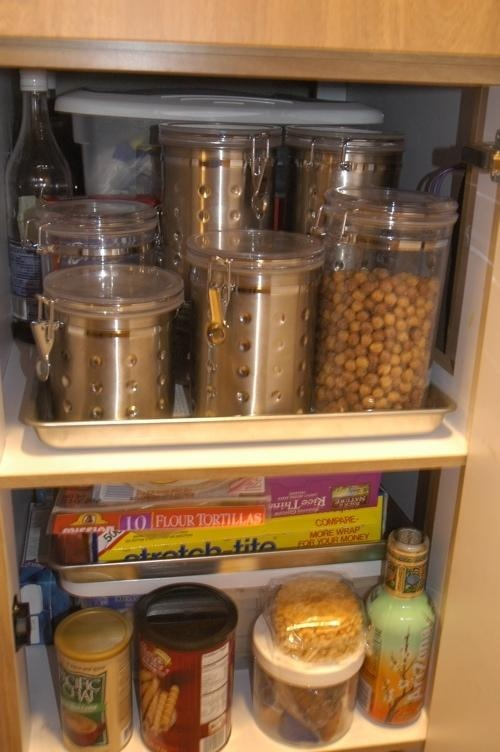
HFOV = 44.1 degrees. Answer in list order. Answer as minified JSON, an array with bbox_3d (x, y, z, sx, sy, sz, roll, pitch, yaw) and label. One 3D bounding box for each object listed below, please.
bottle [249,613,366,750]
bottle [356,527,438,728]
[{"bbox_3d":[0.053,0.311,0.667,0.123,0.114,0.119,4,18,5],"label":"bottle"},{"bbox_3d":[0.151,0.259,0.640,0.069,0.217,0.069,0,22,0],"label":"bottle"}]
